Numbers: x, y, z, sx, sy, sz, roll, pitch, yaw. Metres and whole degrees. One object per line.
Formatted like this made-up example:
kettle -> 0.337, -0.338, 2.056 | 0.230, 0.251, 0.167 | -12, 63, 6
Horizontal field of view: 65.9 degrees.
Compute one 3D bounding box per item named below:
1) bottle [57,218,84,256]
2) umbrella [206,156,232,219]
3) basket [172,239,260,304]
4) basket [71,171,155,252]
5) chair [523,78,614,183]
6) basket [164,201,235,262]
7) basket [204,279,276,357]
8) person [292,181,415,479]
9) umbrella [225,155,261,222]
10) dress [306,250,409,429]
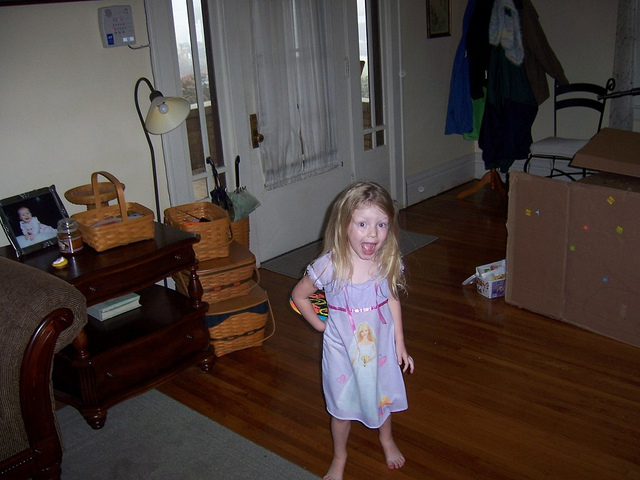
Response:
bottle -> -1.334, -0.024, 2.633 | 0.117, 0.186, 0.123 | 5, 25, -2
umbrella -> -0.739, -0.396, 3.619 | 0.117, 0.369, 0.382 | -9, 23, -12
basket -> -0.657, 0.172, 3.177 | 0.457, 0.225, 0.353 | -17, 27, -18
basket -> -1.181, -0.203, 2.776 | 0.382, 0.388, 0.492 | -21, 28, -34
chair -> 2.426, -1.001, 4.880 | 0.736, 1.130, 0.747 | -15, 24, -23
basket -> -0.750, -0.081, 3.160 | 0.312, 0.236, 0.477 | -11, 22, -23
basket -> -0.572, 0.538, 3.301 | 0.442, 0.336, 0.347 | -11, 17, -25
person -> 0.149, 0.429, 2.160 | 0.499, 1.321, 0.367 | 0, 22, 10
umbrella -> -0.584, -0.395, 3.591 | 0.238, 0.405, 0.242 | -1, 18, 13
dress -> 0.226, 0.392, 2.124 | 0.379, 0.861, 0.260 | 0, 19, -5
